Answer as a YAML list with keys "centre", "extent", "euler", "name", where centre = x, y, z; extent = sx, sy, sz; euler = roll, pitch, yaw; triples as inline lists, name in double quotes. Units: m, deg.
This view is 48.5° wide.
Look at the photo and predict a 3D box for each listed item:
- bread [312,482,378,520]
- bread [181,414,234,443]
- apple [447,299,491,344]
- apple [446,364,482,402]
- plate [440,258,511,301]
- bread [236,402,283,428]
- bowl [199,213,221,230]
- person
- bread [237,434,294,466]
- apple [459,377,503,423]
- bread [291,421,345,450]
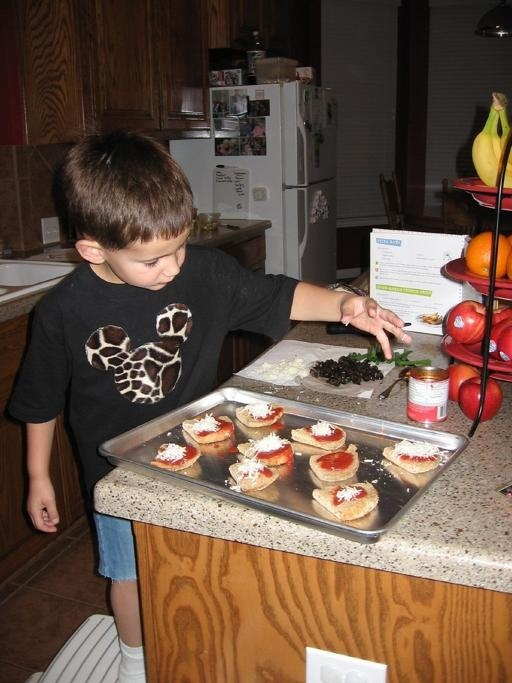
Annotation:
- centre: [0.113, 0.183, 0.666]
  extent: [0.042, 0.012, 0.041]
  euler: [-5, 9, -23]
  name: "bread"
- centre: [-0.078, 0.134, 0.892]
  extent: [0.051, 0.015, 0.049]
  euler: [-9, 22, -27]
  name: "bread"
- centre: [0.400, -0.035, 1.064]
  extent: [0.072, 0.077, 0.076]
  euler: [12, 17, -3]
  name: "apple"
- centre: [0.371, 0.067, 1.039]
  extent: [0.069, 0.065, 0.069]
  euler: [-11, -1, 22]
  name: "apple"
- centre: [0.419, -0.120, 1.078]
  extent: [0.132, 0.031, 0.128]
  euler: [7, 20, -28]
  name: "plate"
- centre: [0.006, 0.120, 0.948]
  extent: [0.081, 0.027, 0.068]
  euler: [-1, 18, 1]
  name: "bread"
- centre: [-0.246, -0.649, 3.091]
  extent: [0.121, 0.078, 0.104]
  euler: [-1, 6, -13]
  name: "bowl"
- centre: [-0.142, 0.214, 1.182]
  extent: [0.645, 1.222, 0.449]
  euler: [-10, 20, -22]
  name: "person"
- centre: [0.007, 0.148, 0.808]
  extent: [0.055, 0.023, 0.043]
  euler: [4, 23, 17]
  name: "bread"
- centre: [0.366, 0.094, 0.930]
  extent: [0.074, 0.071, 0.071]
  euler: [-4, 7, -31]
  name: "apple"
- centre: [0.096, 0.142, 0.860]
  extent: [0.050, 0.015, 0.048]
  euler: [-1, 12, 1]
  name: "bread"
